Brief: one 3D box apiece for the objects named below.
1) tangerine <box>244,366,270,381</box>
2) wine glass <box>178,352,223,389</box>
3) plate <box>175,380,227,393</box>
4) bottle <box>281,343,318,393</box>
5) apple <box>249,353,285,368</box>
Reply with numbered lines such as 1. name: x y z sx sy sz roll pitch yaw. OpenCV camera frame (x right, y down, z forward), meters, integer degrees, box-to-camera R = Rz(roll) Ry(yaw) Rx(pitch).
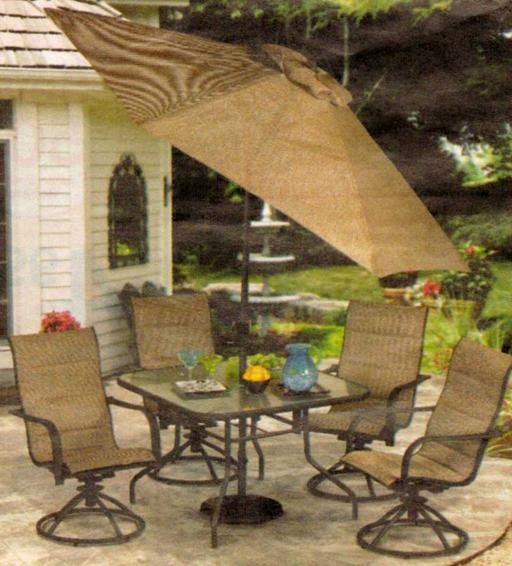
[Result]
1. tangerine: -0.004 0.460 4.253 0.126 0.038 0.092 0 0 1
2. wine glass: -0.288 0.466 4.396 0.234 0.124 0.257 0 4 -26
3. plate: -0.294 0.539 4.363 0.260 0.023 0.239 0 10 -3
4. bottle: 0.218 0.440 4.245 0.181 0.253 0.191 2 15 -1
5. apple: 0.068 0.435 4.777 0.161 0.038 0.127 2 5 3
